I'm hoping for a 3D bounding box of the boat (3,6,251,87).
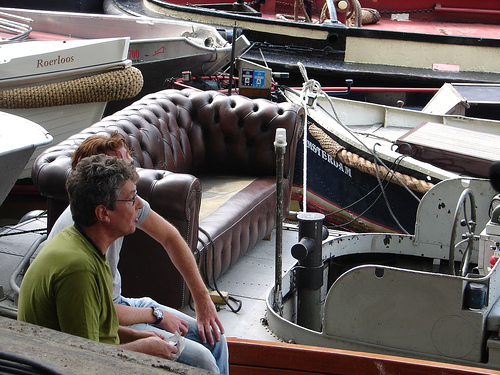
[{"bbox_3d":[-1.285,-1.496,5.689,2.186,0.559,0.768,19,37,14],"label":"boat"}]

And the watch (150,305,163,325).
[{"bbox_3d":[-0.378,0.520,2.186,0.044,0.063,0.062,2,12,-11],"label":"watch"}]

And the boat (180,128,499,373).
[{"bbox_3d":[0.509,0.520,2.775,1.330,0.896,1.367,3,23,12],"label":"boat"}]

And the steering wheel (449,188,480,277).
[{"bbox_3d":[1.162,0.244,2.851,0.120,0.491,0.473,6,-6,10],"label":"steering wheel"}]

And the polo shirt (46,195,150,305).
[{"bbox_3d":[-0.608,0.283,2.045,0.370,0.220,0.353,-16,-41,28],"label":"polo shirt"}]

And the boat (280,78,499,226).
[{"bbox_3d":[1.080,-0.075,5.007,2.015,1.007,1.288,12,32,15],"label":"boat"}]

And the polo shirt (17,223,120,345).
[{"bbox_3d":[-0.610,0.340,1.792,0.301,0.414,0.209,8,12,18],"label":"polo shirt"}]
